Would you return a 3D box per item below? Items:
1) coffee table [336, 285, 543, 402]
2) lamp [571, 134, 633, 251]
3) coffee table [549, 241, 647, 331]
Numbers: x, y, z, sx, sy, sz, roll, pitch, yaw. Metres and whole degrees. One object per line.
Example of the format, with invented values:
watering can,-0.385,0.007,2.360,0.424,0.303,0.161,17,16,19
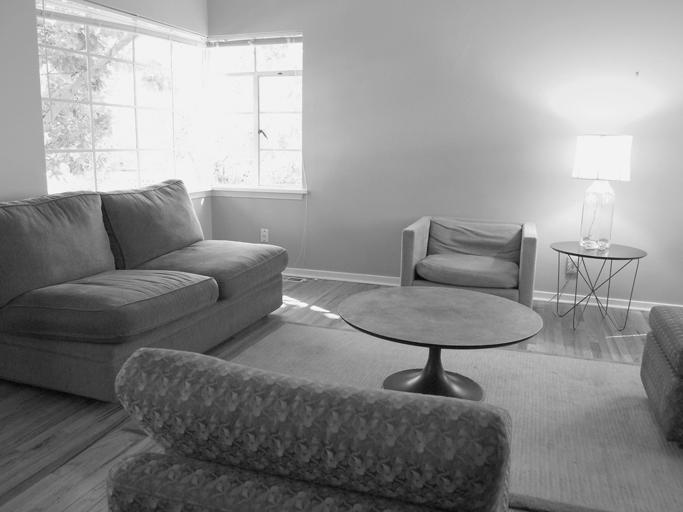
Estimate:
coffee table,0.541,0.540,2.883,1.091,0.482,1.150,1,14,10
lamp,2.069,-0.507,3.959,0.404,0.885,0.414,2,14,7
coffee table,2.176,0.282,4.263,0.645,0.617,0.699,5,5,10
